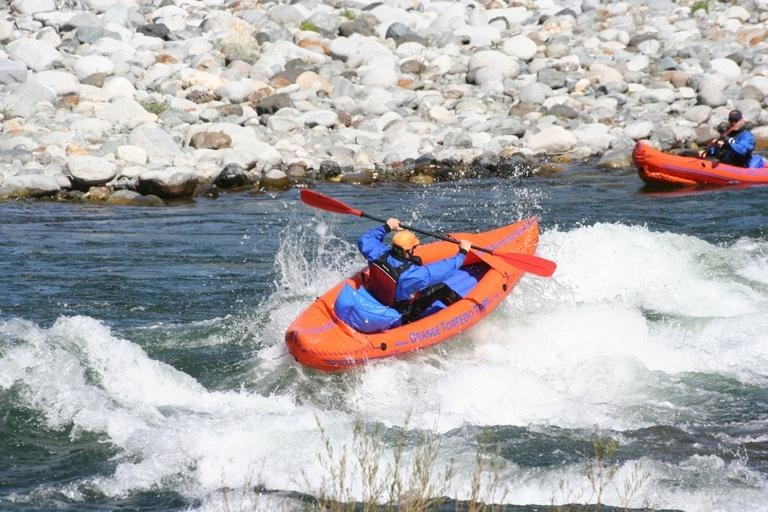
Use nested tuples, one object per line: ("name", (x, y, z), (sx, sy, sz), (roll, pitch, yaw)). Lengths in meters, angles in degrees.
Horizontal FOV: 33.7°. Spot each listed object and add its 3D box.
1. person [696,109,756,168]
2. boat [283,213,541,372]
("person", (8.398, -2.555, 30.651), (1.078, 1.229, 1.859), (9, 102, 33))
("boat", (0.844, 0.967, 24.535), (5.089, 0.818, 2.246), (-20, 42, -20))
